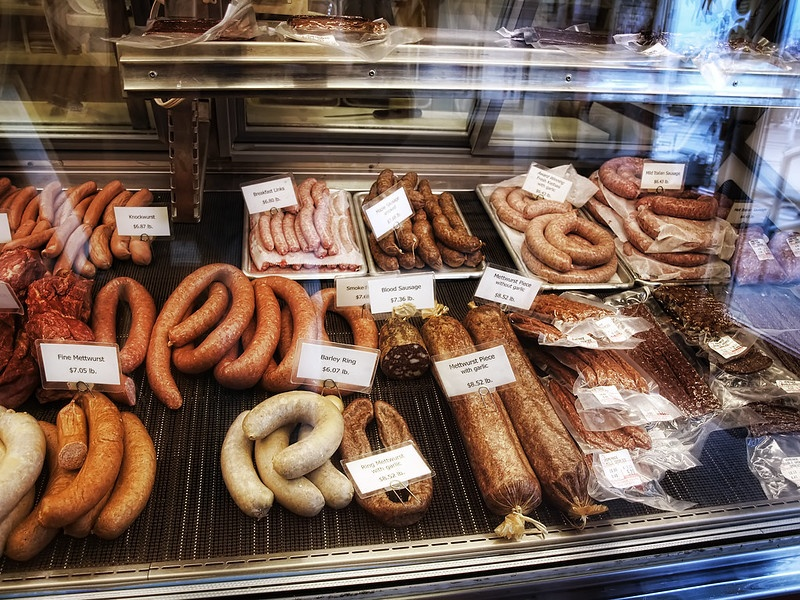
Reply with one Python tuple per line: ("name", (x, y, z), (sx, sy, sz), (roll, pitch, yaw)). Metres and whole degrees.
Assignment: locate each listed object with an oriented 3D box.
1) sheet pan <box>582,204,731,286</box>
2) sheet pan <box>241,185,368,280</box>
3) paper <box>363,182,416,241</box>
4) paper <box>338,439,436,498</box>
("sheet pan", (1.727, -0.489, 3.585), (0.546, 0.150, 0.547), (-14, 46, -26))
("sheet pan", (-0.636, -0.492, 3.576), (0.764, 0.292, 0.886), (-3, 38, -11))
("paper", (-0.092, -0.571, 3.497), (0.258, 0.283, 0.241), (-22, 44, -31))
("paper", (-0.054, 0.767, 2.457), (0.361, 0.062, 0.203), (-11, 40, -20))
